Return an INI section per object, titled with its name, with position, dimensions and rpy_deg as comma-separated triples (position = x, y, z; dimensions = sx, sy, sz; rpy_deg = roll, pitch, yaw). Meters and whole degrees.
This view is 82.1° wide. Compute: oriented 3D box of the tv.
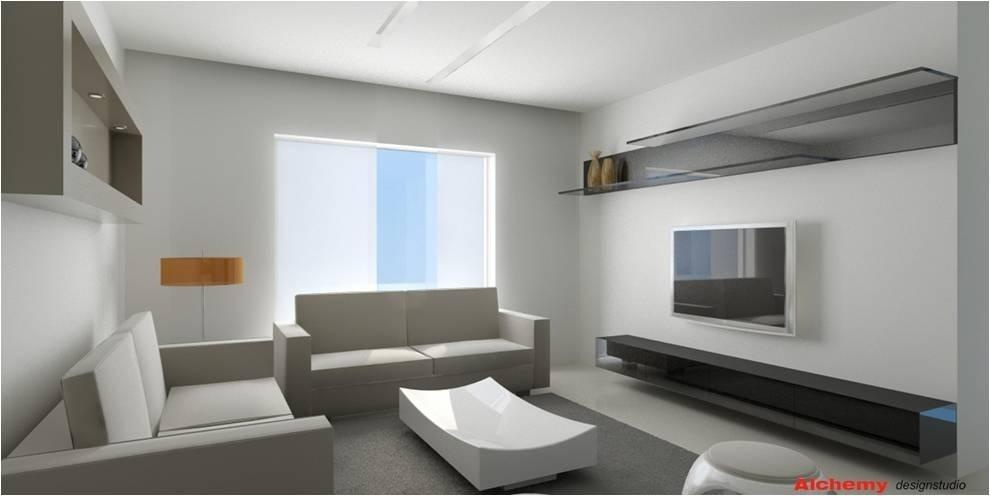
[tv]
position = 2.742, 0.345, 6.414
dimensions = 0.169, 1.123, 1.660
rpy_deg = 3, -4, -40

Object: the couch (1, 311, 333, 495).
[couch]
position = -2.461, 0.811, 4.412
dimensions = 1.657, 0.913, 2.130
rpy_deg = 1, 0, -22

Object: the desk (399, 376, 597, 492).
[desk]
position = -0.007, 1.735, 5.383
dimensions = 1.009, 0.650, 1.538
rpy_deg = 0, 0, -38
